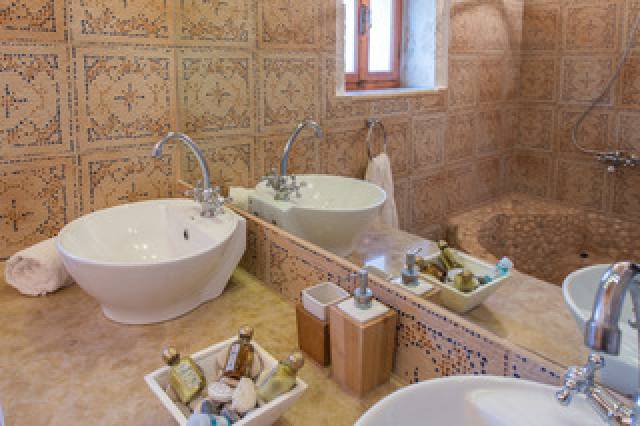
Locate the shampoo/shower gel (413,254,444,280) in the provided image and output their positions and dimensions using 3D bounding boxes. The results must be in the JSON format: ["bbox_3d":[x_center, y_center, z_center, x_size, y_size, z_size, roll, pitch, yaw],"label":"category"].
[{"bbox_3d":[0.304,0.149,1.131,0.024,0.024,0.069,-21,30,-27],"label":"shampoo/shower gel"}]

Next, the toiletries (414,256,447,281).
[{"bbox_3d":[0.311,0.147,1.130,0.045,0.024,0.064,-26,43,-15],"label":"toiletries"}]

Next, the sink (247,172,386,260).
[{"bbox_3d":[-0.001,-0.024,1.496,0.406,0.152,0.240,24,43,30],"label":"sink"}]

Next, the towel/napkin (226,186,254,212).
[{"bbox_3d":[-0.337,-0.068,1.784,0.110,0.110,0.034,14,15,32],"label":"towel/napkin"}]

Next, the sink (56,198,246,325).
[{"bbox_3d":[-0.592,0.149,1.527,0.497,0.234,0.478,-15,35,-38],"label":"sink"}]

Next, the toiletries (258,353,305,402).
[{"bbox_3d":[-0.099,0.425,1.059,0.151,0.059,0.058,-46,17,11],"label":"toiletries"}]

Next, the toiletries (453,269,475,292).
[{"bbox_3d":[0.367,0.170,1.041,0.038,0.057,0.036,15,55,36],"label":"toiletries"}]

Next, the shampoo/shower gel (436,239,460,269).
[{"bbox_3d":[0.342,0.108,1.087,0.027,0.073,0.028,-24,9,43],"label":"shampoo/shower gel"}]

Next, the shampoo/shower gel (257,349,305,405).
[{"bbox_3d":[-0.099,0.430,1.068,0.161,0.064,0.063,-46,28,10],"label":"shampoo/shower gel"}]

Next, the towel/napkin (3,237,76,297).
[{"bbox_3d":[-1.058,0.216,1.602,0.208,0.110,0.265,14,14,6],"label":"towel/napkin"}]
